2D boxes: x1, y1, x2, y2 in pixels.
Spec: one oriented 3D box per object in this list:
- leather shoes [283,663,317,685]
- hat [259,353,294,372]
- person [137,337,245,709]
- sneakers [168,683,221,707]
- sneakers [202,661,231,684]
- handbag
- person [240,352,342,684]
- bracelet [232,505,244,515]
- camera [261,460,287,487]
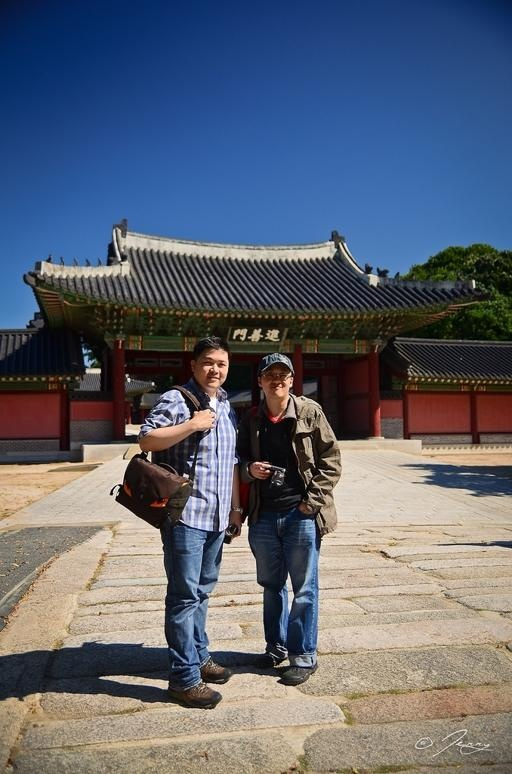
[{"bbox_3d":[0.171,1.151,2.643,0.051,0.054,0.139,-12,-20,35],"label":"leather shoes"},{"bbox_3d":[0.084,-0.120,2.925,0.120,0.084,0.193,2,7,3],"label":"hat"},{"bbox_3d":[-0.268,0.485,2.714,0.340,1.402,0.537,-1,-2,8],"label":"person"},{"bbox_3d":[-0.227,1.132,2.475,0.184,0.086,0.072,0,6,7],"label":"sneakers"},{"bbox_3d":[-0.162,1.141,2.640,0.135,0.064,0.065,-3,-2,33],"label":"sneakers"},{"bbox_3d":[-0.397,0.379,2.571,0.280,0.263,0.156,22,11,17],"label":"handbag"},{"bbox_3d":[0.154,0.515,2.887,0.398,1.338,0.502,0,-2,-21],"label":"person"},{"bbox_3d":[-0.083,0.540,2.912,0.044,0.023,0.046,0,3,-3],"label":"bracelet"},{"bbox_3d":[0.079,0.365,2.825,0.094,0.093,0.046,-9,8,40],"label":"camera"}]
